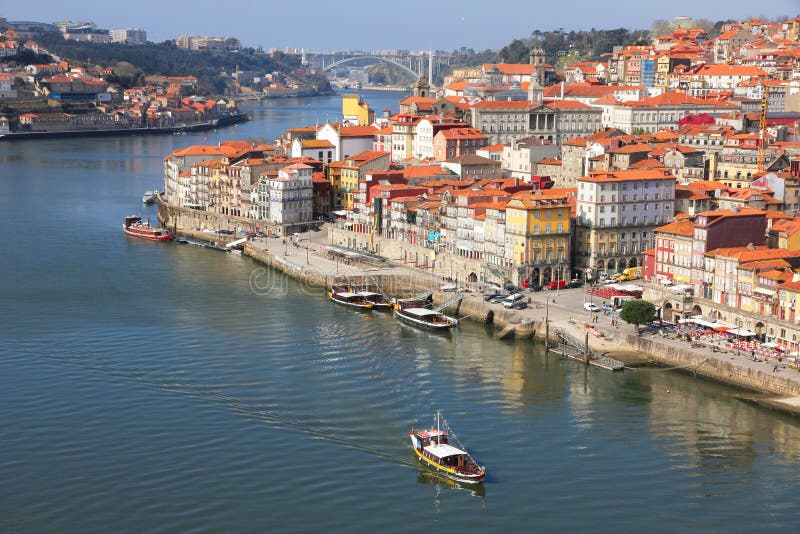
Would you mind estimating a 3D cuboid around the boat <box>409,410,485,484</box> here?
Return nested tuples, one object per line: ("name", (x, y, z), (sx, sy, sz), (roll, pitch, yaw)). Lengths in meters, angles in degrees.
("boat", (1.867, 8.050, 57.493), (1.552, 2.120, 4.086), (-17, 25, -32))

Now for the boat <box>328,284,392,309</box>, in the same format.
("boat", (-2.399, 1.864, 73.724), (2.710, 0.552, 1.704), (12, 13, 43))

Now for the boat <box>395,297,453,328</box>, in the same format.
("boat", (1.210, 2.593, 70.650), (1.334, 1.127, 3.446), (-9, 13, -43))

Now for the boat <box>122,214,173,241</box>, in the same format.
("boat", (-17.388, -2.376, 90.094), (5.077, 1.464, 1.523), (18, 19, 37))
